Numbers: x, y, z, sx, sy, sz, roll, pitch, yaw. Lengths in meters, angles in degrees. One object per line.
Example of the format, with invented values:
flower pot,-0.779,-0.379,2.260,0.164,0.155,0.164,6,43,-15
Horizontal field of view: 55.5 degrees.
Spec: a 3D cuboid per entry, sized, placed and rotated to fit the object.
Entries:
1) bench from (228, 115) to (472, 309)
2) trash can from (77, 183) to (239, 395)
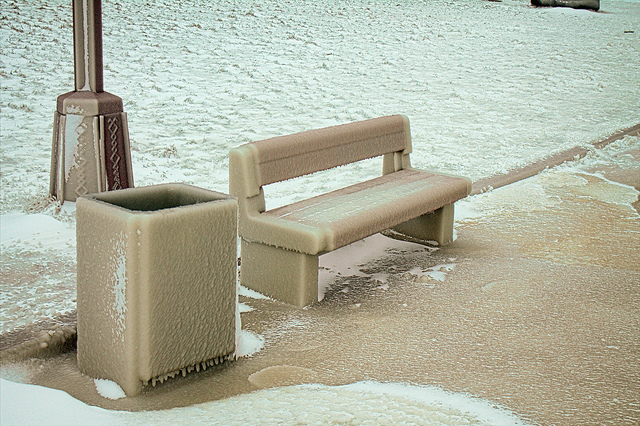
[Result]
bench,0.323,-0.125,5.010,0.965,0.958,2.259,21,26,33
trash can,-0.919,0.460,3.530,1.009,1.064,0.548,-7,24,-19
